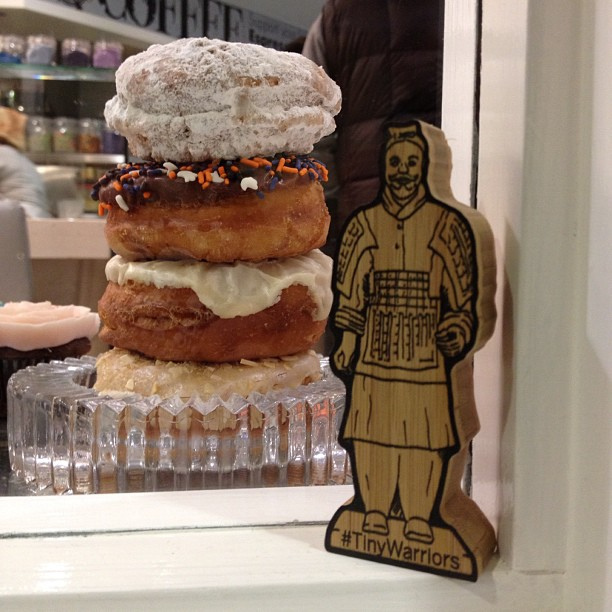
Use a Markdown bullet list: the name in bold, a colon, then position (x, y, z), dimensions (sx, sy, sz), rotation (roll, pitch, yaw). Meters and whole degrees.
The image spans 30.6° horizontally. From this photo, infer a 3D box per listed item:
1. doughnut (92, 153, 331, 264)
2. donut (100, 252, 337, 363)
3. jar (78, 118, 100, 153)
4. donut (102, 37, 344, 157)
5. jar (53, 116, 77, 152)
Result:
- **doughnut**: position (-0.083, -0.091, 1.051), dimensions (0.219, 0.088, 0.212), rotation (-4, 12, 0)
- **donut**: position (-0.069, -0.025, 1.074), dimensions (0.242, 0.082, 0.235), rotation (0, 9, -11)
- **jar**: position (-0.515, -0.395, 2.654), dimensions (0.051, 0.072, 0.101), rotation (-1, 6, -11)
- **donut**: position (-0.080, -0.187, 1.019), dimensions (0.217, 0.098, 0.222), rotation (-13, 22, -42)
- **jar**: position (-0.563, -0.390, 2.613), dimensions (0.069, 0.099, 0.068), rotation (1, 10, 0)
